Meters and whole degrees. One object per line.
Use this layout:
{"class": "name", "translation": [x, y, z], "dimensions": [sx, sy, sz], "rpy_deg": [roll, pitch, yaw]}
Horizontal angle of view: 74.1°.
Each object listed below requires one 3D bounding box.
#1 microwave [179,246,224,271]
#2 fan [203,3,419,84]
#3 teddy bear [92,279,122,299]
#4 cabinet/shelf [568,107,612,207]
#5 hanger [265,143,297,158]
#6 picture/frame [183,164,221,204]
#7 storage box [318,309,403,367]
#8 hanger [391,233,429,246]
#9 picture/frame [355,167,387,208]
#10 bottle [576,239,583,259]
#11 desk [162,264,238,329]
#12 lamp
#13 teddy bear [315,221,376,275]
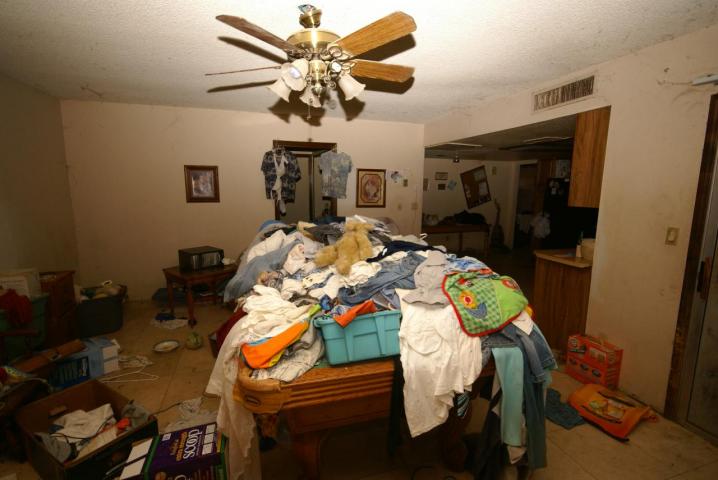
{"class": "microwave", "translation": [-1.969, 0.158, 5.808], "dimensions": [0.328, 0.244, 0.390], "rpy_deg": [4, 8, 42]}
{"class": "fan", "translation": [-0.212, -1.677, 4.106], "dimensions": [1.370, 0.483, 1.033], "rpy_deg": [0, 8, 5]}
{"class": "teddy bear", "translation": [-2.978, 0.584, 5.681], "dimensions": [0.209, 0.169, 0.348], "rpy_deg": [1, -8, 0]}
{"class": "cabinet/shelf", "translation": [2.295, -0.837, 4.795], "dimensions": [0.128, 0.972, 0.377], "rpy_deg": [-6, 11, -29]}
{"class": "hanger", "translation": [-1.098, -1.239, 6.489], "dimensions": [0.252, 0.096, 0.321], "rpy_deg": [-1, 0, -13]}
{"class": "picture/frame", "translation": [-2.144, -0.786, 6.378], "dimensions": [0.526, 0.622, 0.045], "rpy_deg": [-3, 7, -28]}
{"class": "storage box", "translation": [0.019, 0.725, 3.524], "dimensions": [0.532, 0.265, 0.369], "rpy_deg": [-3, -1, -14]}
{"class": "hanger", "translation": [0.526, -0.018, 5.043], "dimensions": [0.393, 0.110, 0.231], "rpy_deg": [-1, 5, 44]}
{"class": "picture/frame", "translation": [0.152, -0.821, 7.124], "dimensions": [0.593, 0.658, 0.046], "rpy_deg": [-3, 7, -29]}
{"class": "bottle", "translation": [2.354, 0.069, 5.076], "dimensions": [0.060, 0.191, 0.251], "rpy_deg": [3, 10, 24]}
{"class": "desk", "translation": [-1.954, 0.605, 5.966], "dimensions": [0.716, 0.605, 0.857], "rpy_deg": [9, 18, 25]}
{"class": "lamp", "translation": [-0.479, -1.425, 4.051], "dimensions": [0.641, 0.347, 0.731], "rpy_deg": [-10, 23, -27]}
{"class": "teddy bear", "translation": [-0.083, 0.043, 4.198], "dimensions": [0.556, 0.421, 0.393], "rpy_deg": [-9, 12, -44]}
